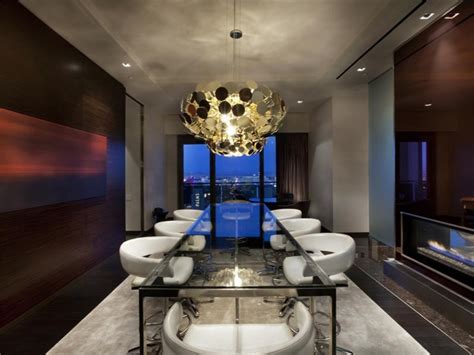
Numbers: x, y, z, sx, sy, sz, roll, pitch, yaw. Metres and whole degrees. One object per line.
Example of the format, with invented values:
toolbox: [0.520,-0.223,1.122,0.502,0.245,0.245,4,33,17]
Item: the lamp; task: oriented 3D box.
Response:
lamp: [-0.045,-1.126,3.598,1.053,1.694,0.901,-2,-1,-33]
